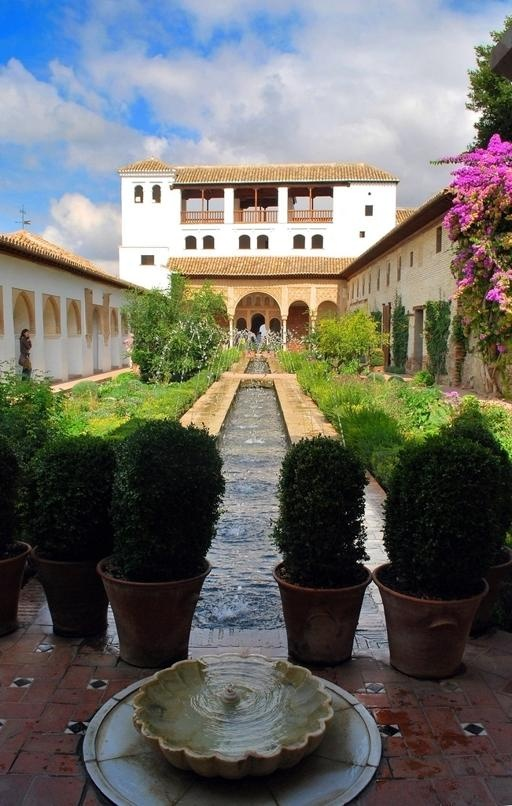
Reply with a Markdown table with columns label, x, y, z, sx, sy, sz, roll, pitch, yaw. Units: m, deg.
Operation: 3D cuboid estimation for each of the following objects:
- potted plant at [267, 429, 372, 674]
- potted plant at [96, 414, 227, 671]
| label | x | y | z | sx | sy | sz | roll | pitch | yaw |
| --- | --- | --- | --- | --- | --- | --- | --- | --- | --- |
| potted plant | 0.296 | 0.697 | 2.759 | 0.480 | 1.051 | 0.360 | 1 | 1 | 11 |
| potted plant | -0.438 | 0.653 | 2.742 | 0.603 | 1.124 | 0.369 | 0 | 1 | -17 |
